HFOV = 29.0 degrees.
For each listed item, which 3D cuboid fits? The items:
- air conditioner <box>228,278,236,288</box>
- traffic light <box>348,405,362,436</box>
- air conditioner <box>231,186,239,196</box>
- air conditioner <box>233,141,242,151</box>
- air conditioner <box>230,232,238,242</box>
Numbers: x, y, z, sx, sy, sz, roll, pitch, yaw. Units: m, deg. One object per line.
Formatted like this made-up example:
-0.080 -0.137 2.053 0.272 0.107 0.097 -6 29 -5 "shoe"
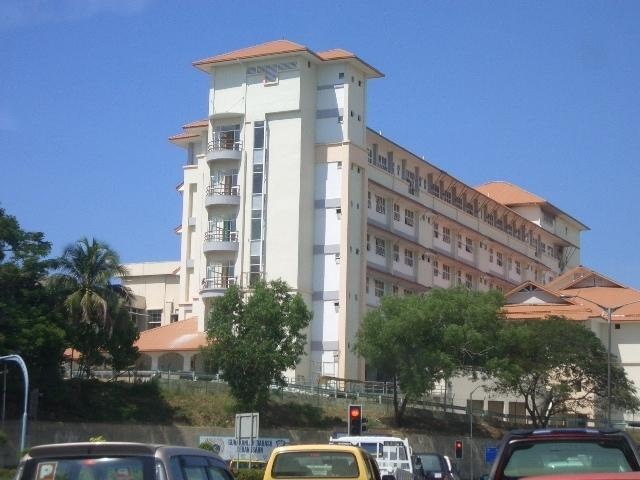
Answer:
-7.213 3.686 101.731 0.673 0.975 0.903 4 -6 -40 "air conditioner"
1.791 9.397 64.430 0.644 1.519 0.812 1 -15 -2 "traffic light"
-7.106 -4.021 103.744 0.667 0.719 0.172 3 -3 15 "air conditioner"
-6.881 -7.771 104.176 0.851 0.957 0.662 1 -7 -14 "air conditioner"
-7.215 -0.197 103.263 0.640 0.952 0.627 0 -5 1 "air conditioner"
